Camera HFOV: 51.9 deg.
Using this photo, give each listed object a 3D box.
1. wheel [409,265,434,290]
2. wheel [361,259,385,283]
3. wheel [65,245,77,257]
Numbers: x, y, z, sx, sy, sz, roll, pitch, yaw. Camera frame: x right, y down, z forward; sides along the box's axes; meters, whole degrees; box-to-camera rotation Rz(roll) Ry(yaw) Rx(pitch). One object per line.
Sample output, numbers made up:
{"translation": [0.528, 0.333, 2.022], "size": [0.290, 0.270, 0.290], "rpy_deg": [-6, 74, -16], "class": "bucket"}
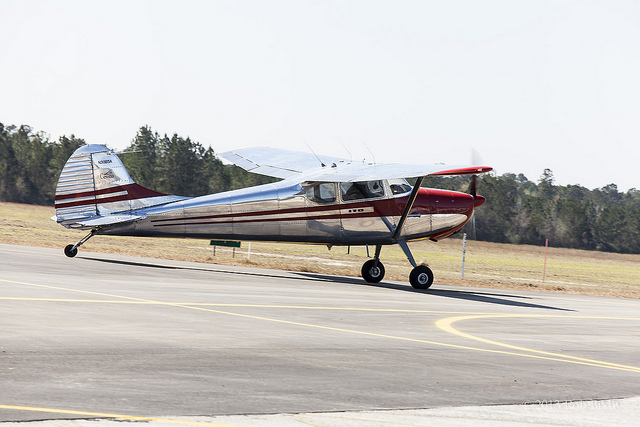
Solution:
{"translation": [3.438, 2.145, 22.316], "size": [0.807, 0.820, 0.418], "rpy_deg": [11, 9, -3], "class": "wheel"}
{"translation": [1.882, 2.005, 23.177], "size": [0.761, 0.861, 0.427], "rpy_deg": [12, 8, 3], "class": "wheel"}
{"translation": [-8.526, 1.292, 22.736], "size": [0.376, 0.370, 0.574], "rpy_deg": [6, 6, -29], "class": "wheel"}
